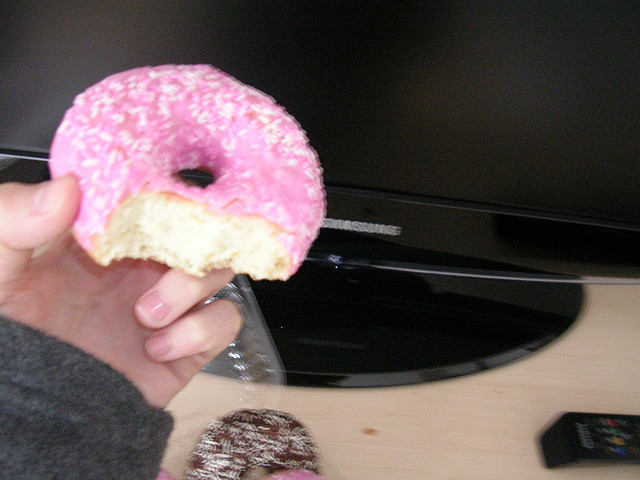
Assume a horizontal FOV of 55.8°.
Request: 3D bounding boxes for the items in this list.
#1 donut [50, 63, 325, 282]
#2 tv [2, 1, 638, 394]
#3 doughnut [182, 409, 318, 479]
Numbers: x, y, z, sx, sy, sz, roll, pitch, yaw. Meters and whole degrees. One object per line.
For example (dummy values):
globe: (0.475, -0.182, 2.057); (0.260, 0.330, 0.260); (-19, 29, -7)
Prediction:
donut: (-0.107, -0.065, 0.513); (0.224, 0.096, 0.174); (2, 65, 0)
tv: (0.000, -0.059, 0.660); (0.517, 0.322, 0.141); (4, 35, 1)
doughnut: (-0.076, 0.228, 0.650); (0.140, 0.031, 0.073); (-12, 65, -7)
